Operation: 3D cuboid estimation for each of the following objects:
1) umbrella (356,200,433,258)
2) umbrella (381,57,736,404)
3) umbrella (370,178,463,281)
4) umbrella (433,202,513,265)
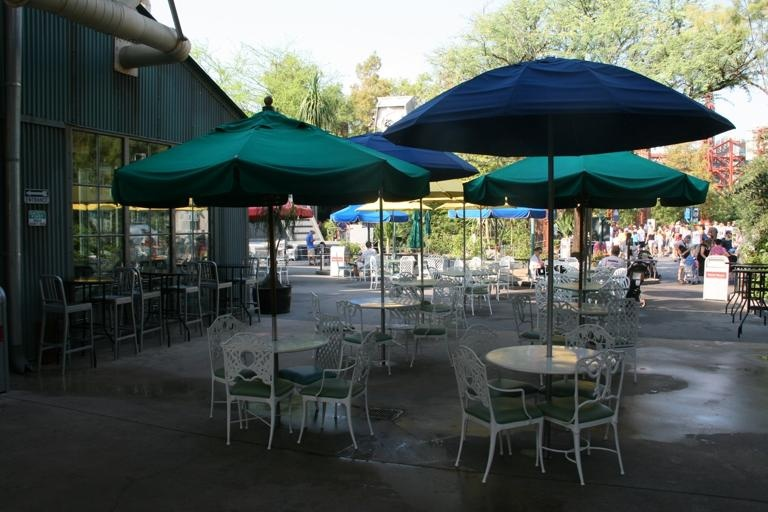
[{"bbox_3d":[0.508,-1.025,17.020,1.605,1.356,1.596,2,14,11],"label":"umbrella"},{"bbox_3d":[2.487,-0.363,9.762,4.554,4.451,4.503,-1,1,-6],"label":"umbrella"},{"bbox_3d":[1.041,-0.663,21.235,3.463,3.350,3.069,-1,1,3],"label":"umbrella"},{"bbox_3d":[3.231,-0.856,24.564,2.105,2.233,2.127,2,4,41],"label":"umbrella"}]
